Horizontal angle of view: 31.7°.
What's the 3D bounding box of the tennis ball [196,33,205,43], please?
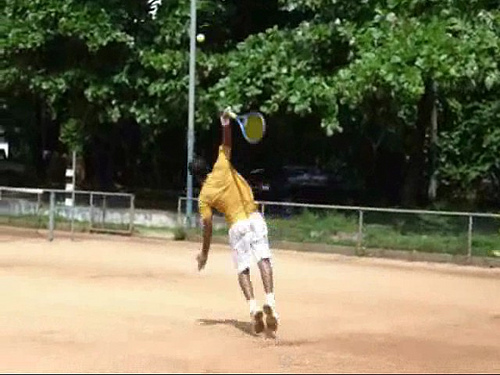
[{"bbox_3d":[-1.669,-5.138,30.338,0.152,0.306,0.299,-7,41,-23],"label":"tennis ball"}]
